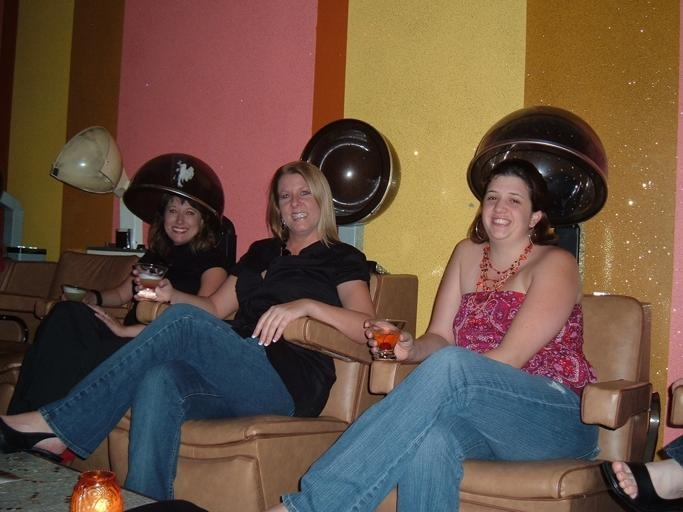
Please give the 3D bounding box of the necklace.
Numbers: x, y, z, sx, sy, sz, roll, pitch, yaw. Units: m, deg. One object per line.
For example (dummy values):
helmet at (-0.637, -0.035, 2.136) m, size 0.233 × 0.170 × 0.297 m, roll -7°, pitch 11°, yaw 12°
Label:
necklace at (0.597, 0.059, 2.162) m, size 0.054 × 0.225 × 0.138 m, roll 30°, pitch -9°, yaw -35°

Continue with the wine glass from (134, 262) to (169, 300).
wine glass at (-0.820, 0.113, 2.484) m, size 0.146 × 0.136 × 0.143 m, roll 7°, pitch -4°, yaw 1°

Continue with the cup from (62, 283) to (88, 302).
cup at (-1.319, 0.179, 2.827) m, size 0.101 × 0.074 × 0.103 m, roll 8°, pitch -17°, yaw 2°

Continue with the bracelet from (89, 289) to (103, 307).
bracelet at (-1.247, 0.211, 2.930) m, size 0.032 × 0.074 × 0.066 m, roll -18°, pitch -7°, yaw 1°
